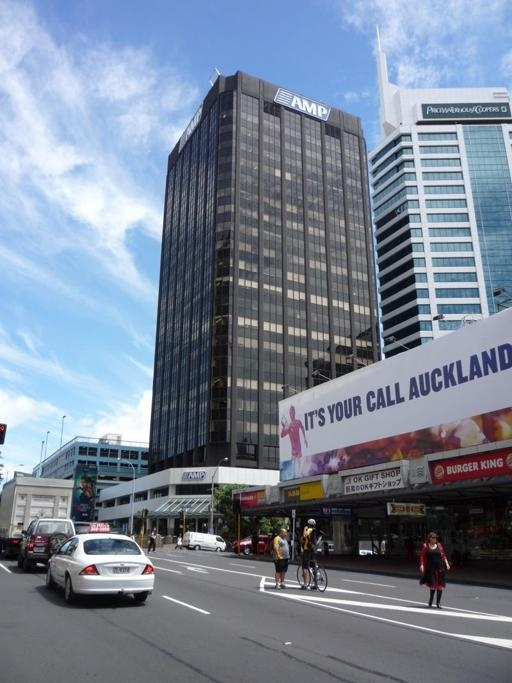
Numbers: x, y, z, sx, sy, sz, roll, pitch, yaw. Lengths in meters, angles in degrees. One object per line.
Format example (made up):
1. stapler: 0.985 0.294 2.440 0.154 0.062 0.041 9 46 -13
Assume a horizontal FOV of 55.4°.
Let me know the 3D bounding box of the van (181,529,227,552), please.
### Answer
1. van: -5.710 21.950 53.355 4.400 1.970 2.251 7 -14 -24

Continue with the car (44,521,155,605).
1. car: -3.270 4.558 10.251 1.204 0.976 2.756 5 -15 -19

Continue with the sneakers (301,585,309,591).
1. sneakers: 1.395 7.126 14.160 0.248 0.191 0.146 5 -14 -11

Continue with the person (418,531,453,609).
1. person: 4.254 5.425 11.654 0.658 1.660 2.266 -5 -17 17
